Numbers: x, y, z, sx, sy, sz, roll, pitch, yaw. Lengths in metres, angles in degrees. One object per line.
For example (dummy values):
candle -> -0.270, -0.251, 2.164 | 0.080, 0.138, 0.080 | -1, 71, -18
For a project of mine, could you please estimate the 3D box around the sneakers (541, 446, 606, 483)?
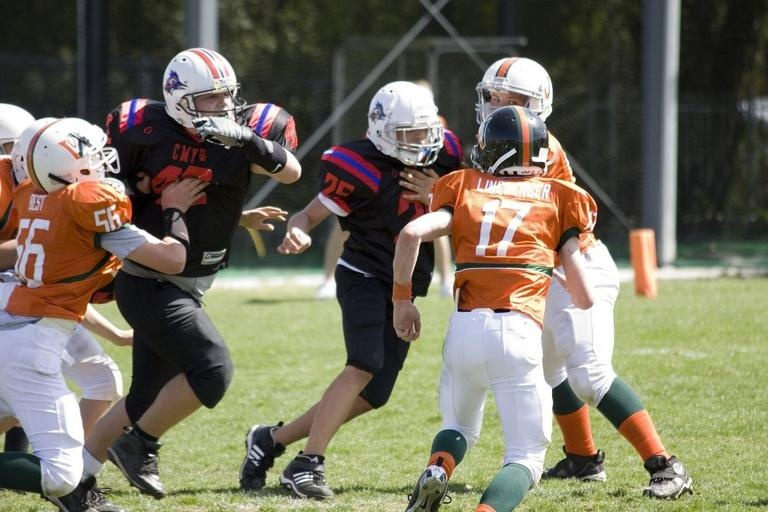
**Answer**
sneakers -> 1.106, 1.195, 6.207 | 0.399, 0.207, 0.151 | 2, -5, 19

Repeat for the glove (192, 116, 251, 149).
glove -> -0.868, -0.666, 5.781 | 0.267, 0.160, 0.084 | 10, -24, -36

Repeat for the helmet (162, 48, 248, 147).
helmet -> -1.052, -0.900, 5.942 | 0.479, 0.400, 0.356 | 26, 35, 32

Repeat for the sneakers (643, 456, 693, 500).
sneakers -> 1.538, 1.197, 5.842 | 0.133, 0.166, 0.352 | -11, -13, 28

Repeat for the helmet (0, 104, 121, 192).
helmet -> -1.669, -0.562, 5.604 | 0.471, 0.387, 0.371 | -15, 10, -8

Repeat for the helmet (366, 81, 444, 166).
helmet -> 0.111, -0.808, 6.156 | 0.378, 0.384, 0.473 | -22, 44, -37

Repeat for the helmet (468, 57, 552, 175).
helmet -> 0.771, -0.949, 6.328 | 0.338, 0.377, 0.444 | 4, -4, 34
